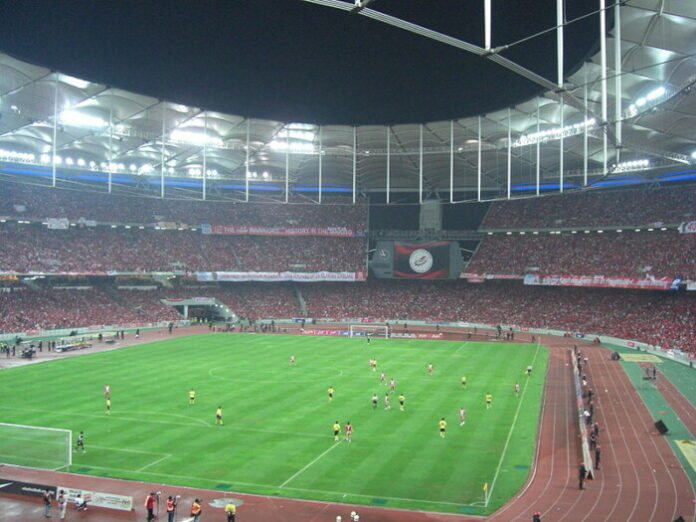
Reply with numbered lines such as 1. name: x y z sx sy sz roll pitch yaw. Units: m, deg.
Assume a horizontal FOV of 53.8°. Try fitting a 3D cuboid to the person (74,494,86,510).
1. person: -13.987 12.627 35.856 0.547 0.761 0.373 -1 10 -12
